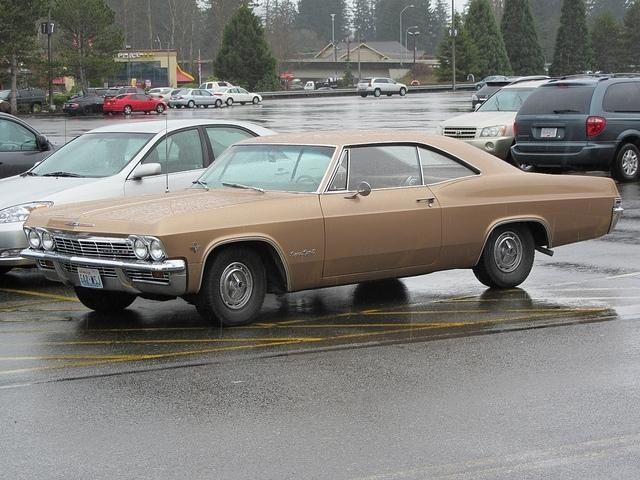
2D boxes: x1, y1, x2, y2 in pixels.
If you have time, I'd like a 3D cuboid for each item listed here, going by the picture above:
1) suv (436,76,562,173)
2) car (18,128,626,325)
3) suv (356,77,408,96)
[{"bbox_3d":[7.078,-4.538,19.977,6.319,2.191,2.674,-10,11,-40],"label":"suv"},{"bbox_3d":[0.461,-0.224,6.522,6.202,1.385,2.594,-4,5,-30],"label":"car"},{"bbox_3d":[8.959,-21.027,73.218,6.854,1.899,2.771,-4,13,-12],"label":"suv"}]
